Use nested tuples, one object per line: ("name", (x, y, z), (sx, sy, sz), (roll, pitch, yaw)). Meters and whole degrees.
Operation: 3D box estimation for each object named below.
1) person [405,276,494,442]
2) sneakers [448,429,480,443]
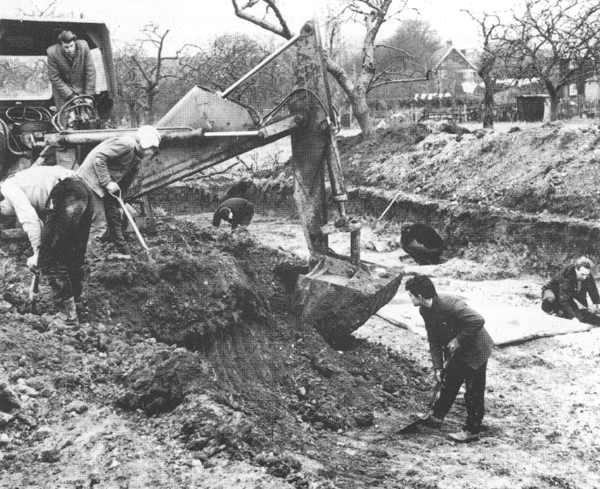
("person", (1.465, 1.077, 8.025), (0.784, 1.572, 0.363), (3, 8, 13))
("sneakers", (1.591, 1.841, 7.998), (0.283, 0.128, 0.122), (2, 0, 0))
